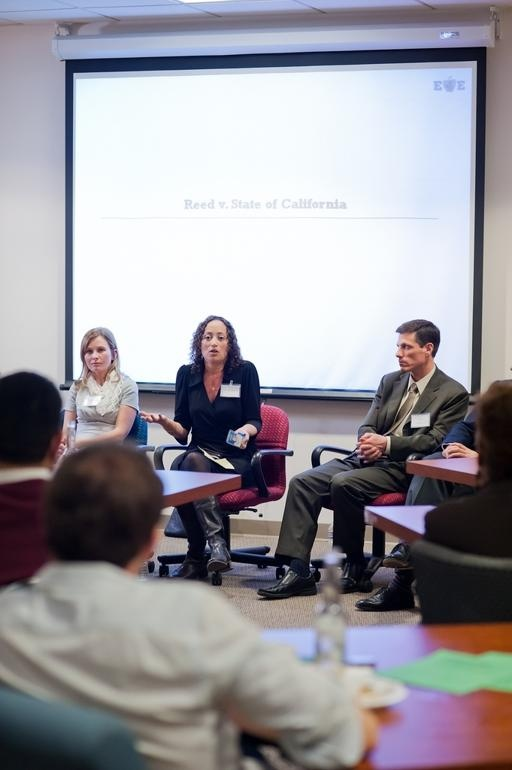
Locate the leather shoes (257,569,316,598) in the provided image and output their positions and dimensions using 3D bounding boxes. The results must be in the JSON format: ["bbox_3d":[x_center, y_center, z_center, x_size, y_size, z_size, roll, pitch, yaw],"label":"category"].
[{"bbox_3d":[0.175,1.062,3.619,0.357,0.160,0.124,1,-8,-25],"label":"leather shoes"}]

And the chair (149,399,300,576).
[{"bbox_3d":[-0.201,0.605,3.897,0.741,0.962,0.753,1,-2,42],"label":"chair"}]

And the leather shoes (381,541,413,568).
[{"bbox_3d":[0.730,0.874,3.404,0.101,0.116,0.272,-3,-14,22],"label":"leather shoes"}]

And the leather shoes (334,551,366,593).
[{"bbox_3d":[0.533,1.048,3.636,0.111,0.215,0.234,-10,-19,31],"label":"leather shoes"}]

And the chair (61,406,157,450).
[{"bbox_3d":[-0.839,0.269,3.848,0.326,0.370,0.326,-2,-15,20],"label":"chair"}]

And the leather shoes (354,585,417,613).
[{"bbox_3d":[0.654,1.075,3.382,0.332,0.133,0.117,2,-7,-10],"label":"leather shoes"}]
